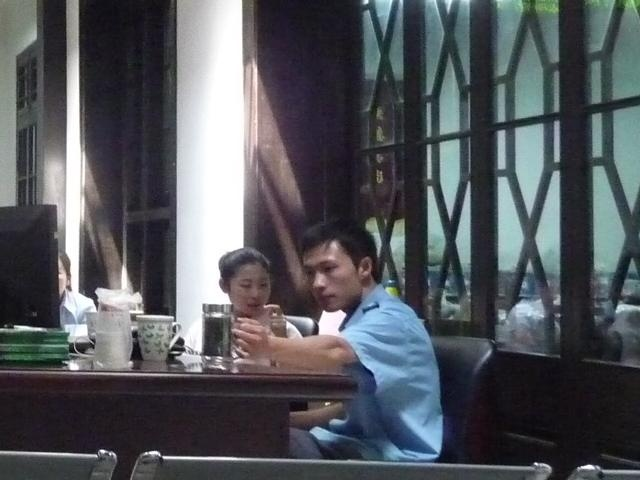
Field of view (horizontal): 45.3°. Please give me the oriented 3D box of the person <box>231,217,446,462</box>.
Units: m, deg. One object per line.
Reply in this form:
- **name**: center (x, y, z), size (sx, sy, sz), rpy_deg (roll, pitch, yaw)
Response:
- **person**: center (0.117, 0.469, 2.542), size (0.694, 1.055, 0.537), rpy_deg (7, -28, -13)

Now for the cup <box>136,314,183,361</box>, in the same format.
- **cup**: center (-0.449, 0.271, 2.177), size (0.134, 0.121, 0.106), rpy_deg (4, -5, -36)

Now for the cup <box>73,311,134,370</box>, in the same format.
- **cup**: center (-0.569, 0.280, 2.096), size (0.183, 0.192, 0.129), rpy_deg (-3, -13, 7)

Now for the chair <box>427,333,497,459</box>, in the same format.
- **chair**: center (0.403, 0.475, 2.228), size (0.193, 0.353, 0.111), rpy_deg (0, -3, 25)

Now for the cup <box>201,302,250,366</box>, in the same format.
- **cup**: center (-0.291, 0.272, 2.165), size (0.129, 0.239, 0.129), rpy_deg (1, 0, 0)
